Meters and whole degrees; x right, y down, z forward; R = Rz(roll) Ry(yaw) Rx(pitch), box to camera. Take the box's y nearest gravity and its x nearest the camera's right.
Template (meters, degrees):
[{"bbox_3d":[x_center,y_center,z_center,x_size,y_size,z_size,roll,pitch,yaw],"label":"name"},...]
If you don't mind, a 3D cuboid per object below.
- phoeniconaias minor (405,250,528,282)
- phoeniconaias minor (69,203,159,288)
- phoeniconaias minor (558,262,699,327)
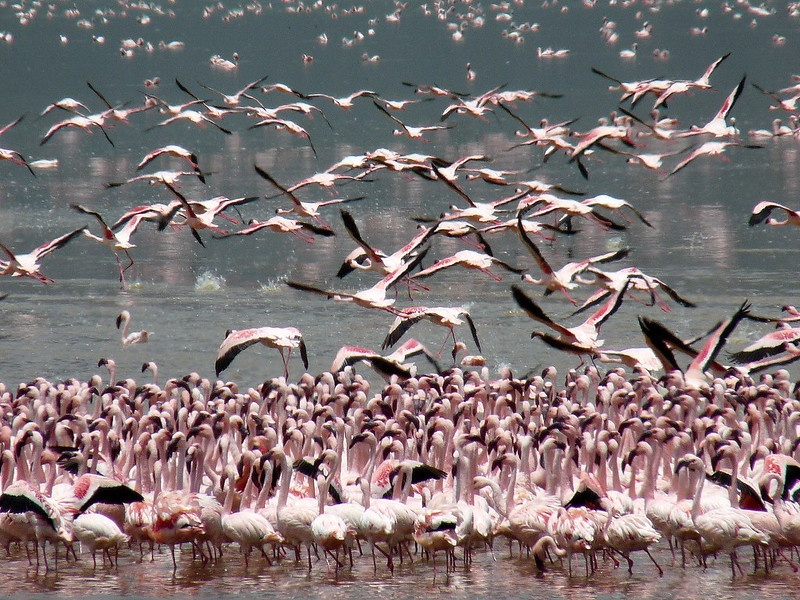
[{"bbox_3d":[1.369,-0.951,38.719,1.981,0.377,1.425,-2,1,-35],"label":"phoeniconaias minor"},{"bbox_3d":[-8.169,-1.640,45.076,1.556,2.325,11.692,0,-2,-9],"label":"phoeniconaias minor"},{"bbox_3d":[5.674,-0.416,38.508,2.075,0.776,2.623,-7,-4,36],"label":"phoeniconaias minor"}]
